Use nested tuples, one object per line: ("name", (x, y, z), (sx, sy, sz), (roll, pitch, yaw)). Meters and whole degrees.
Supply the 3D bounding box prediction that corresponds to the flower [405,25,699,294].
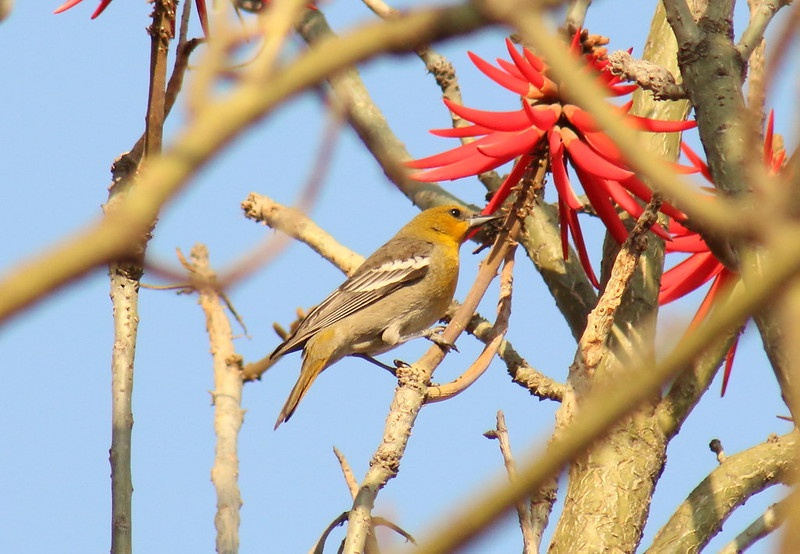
("flower", (0.587, -0.516, 5.502), (0.998, 0.988, 0.665), (29, -97, -29))
